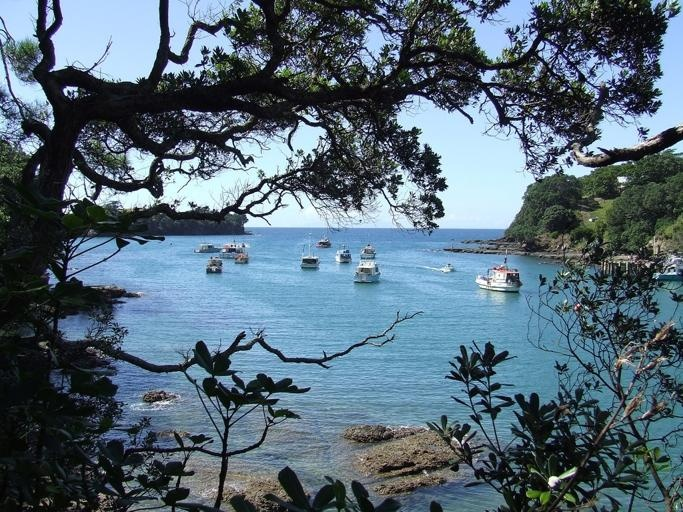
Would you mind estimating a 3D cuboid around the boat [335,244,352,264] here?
[{"bbox_3d":[0.512,0.074,97.610,1.884,2.475,5.264,0,0,-3],"label":"boat"}]

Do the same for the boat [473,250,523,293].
[{"bbox_3d":[15.475,2.277,58.974,2.856,2.588,4.080,1,-6,-6],"label":"boat"}]

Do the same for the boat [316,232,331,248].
[{"bbox_3d":[-4.850,-3.222,147.823,2.493,3.519,7.729,0,0,3],"label":"boat"}]

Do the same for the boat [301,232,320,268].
[{"bbox_3d":[-4.588,-0.722,84.660,2.009,4.625,5.909,-1,14,-4],"label":"boat"}]
